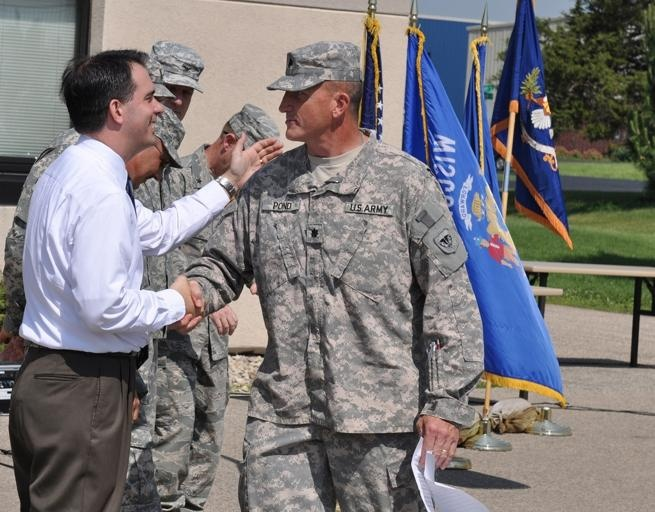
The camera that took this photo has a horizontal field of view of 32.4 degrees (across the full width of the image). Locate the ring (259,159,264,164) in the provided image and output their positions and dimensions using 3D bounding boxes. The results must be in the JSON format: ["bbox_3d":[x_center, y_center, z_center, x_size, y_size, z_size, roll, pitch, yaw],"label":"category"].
[{"bbox_3d":[-0.400,-0.566,6.744,0.022,0.032,0.008,1,3,14],"label":"ring"}]

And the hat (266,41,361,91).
[{"bbox_3d":[-0.067,-1.063,6.299,0.564,0.255,0.391,-7,13,-27],"label":"hat"}]

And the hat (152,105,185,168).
[{"bbox_3d":[-0.938,-0.724,6.703,0.126,0.331,0.217,-25,-25,6],"label":"hat"}]
